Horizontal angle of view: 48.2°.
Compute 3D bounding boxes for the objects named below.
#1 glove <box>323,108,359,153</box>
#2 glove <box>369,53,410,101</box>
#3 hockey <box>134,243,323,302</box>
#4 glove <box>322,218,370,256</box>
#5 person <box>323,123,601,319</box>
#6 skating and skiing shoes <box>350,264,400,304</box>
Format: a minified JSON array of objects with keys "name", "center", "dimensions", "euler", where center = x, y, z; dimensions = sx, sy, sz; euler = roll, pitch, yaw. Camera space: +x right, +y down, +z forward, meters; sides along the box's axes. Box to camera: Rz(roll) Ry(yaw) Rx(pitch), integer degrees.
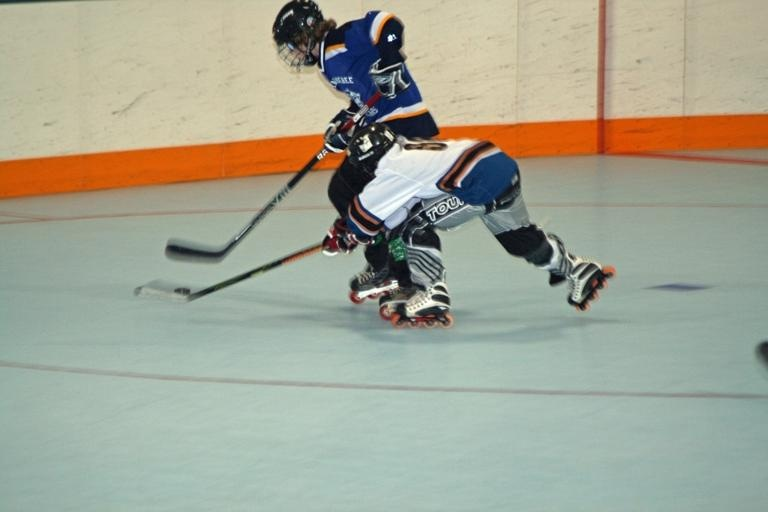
[{"name":"glove","center":[-0.249,-0.732,5.193],"dimensions":[0.178,0.298,0.122],"euler":[8,-28,39]},{"name":"glove","center":[0.034,-1.031,4.976],"dimensions":[0.224,0.198,0.216],"euler":[-29,21,-31]},{"name":"hockey","center":[-0.916,0.106,4.951],"dimensions":[1.163,0.284,0.220],"euler":[-5,-8,25]},{"name":"glove","center":[-0.230,-0.104,4.724],"dimensions":[0.133,0.145,0.350],"euler":[-35,21,-16]},{"name":"person","center":[0.428,-0.155,4.688],"dimensions":[1.681,0.957,0.536],"euler":[0,7,6]},{"name":"skating and skiing shoes","center":[-0.055,0.152,4.918],"dimensions":[0.290,0.124,0.204],"euler":[-25,15,14]}]
